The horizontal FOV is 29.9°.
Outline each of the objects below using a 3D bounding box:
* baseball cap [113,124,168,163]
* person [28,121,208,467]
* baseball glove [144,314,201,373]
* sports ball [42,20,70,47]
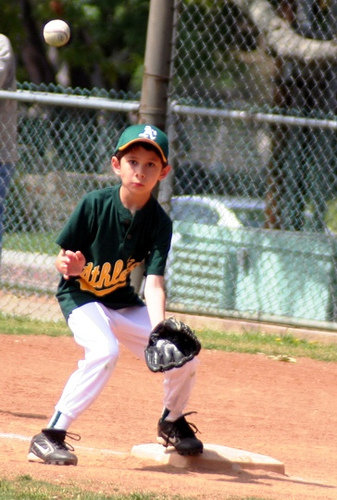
[{"bbox_3d":[-0.091,-0.402,2.328,0.205,0.117,0.261,12,-5,-8],"label":"baseball cap"},{"bbox_3d":[-0.121,0.192,2.304,0.620,1.290,0.641,5,10,0],"label":"person"},{"bbox_3d":[0.014,0.326,2.163,0.224,0.153,0.097,-20,-22,18],"label":"baseball glove"},{"bbox_3d":[-0.792,-1.534,4.450,0.181,0.201,0.244,3,9,-11],"label":"sports ball"}]
